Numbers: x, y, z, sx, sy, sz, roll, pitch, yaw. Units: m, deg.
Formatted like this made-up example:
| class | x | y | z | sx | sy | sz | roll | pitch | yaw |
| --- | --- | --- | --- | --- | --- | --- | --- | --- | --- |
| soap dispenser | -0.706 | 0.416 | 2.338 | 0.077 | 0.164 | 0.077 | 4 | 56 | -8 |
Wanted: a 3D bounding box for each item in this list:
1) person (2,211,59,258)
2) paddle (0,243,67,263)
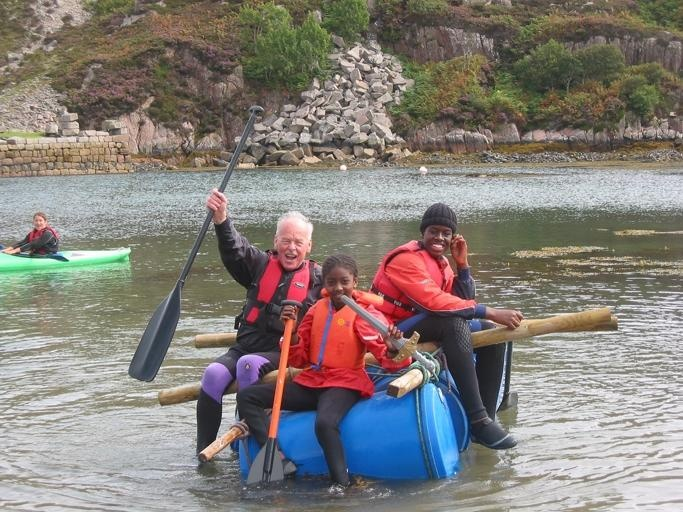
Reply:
| class | x | y | z | sx | sy | sz | roll | pitch | yaw |
| --- | --- | --- | --- | --- | --- | --- | --- | --- | --- |
| person | -7.190 | -0.528 | 25.025 | 1.101 | 1.002 | 0.734 | -4 | 8 | -14 |
| paddle | -7.155 | -0.063 | 24.926 | 1.332 | 0.146 | 0.233 | 11 | 17 | -9 |
